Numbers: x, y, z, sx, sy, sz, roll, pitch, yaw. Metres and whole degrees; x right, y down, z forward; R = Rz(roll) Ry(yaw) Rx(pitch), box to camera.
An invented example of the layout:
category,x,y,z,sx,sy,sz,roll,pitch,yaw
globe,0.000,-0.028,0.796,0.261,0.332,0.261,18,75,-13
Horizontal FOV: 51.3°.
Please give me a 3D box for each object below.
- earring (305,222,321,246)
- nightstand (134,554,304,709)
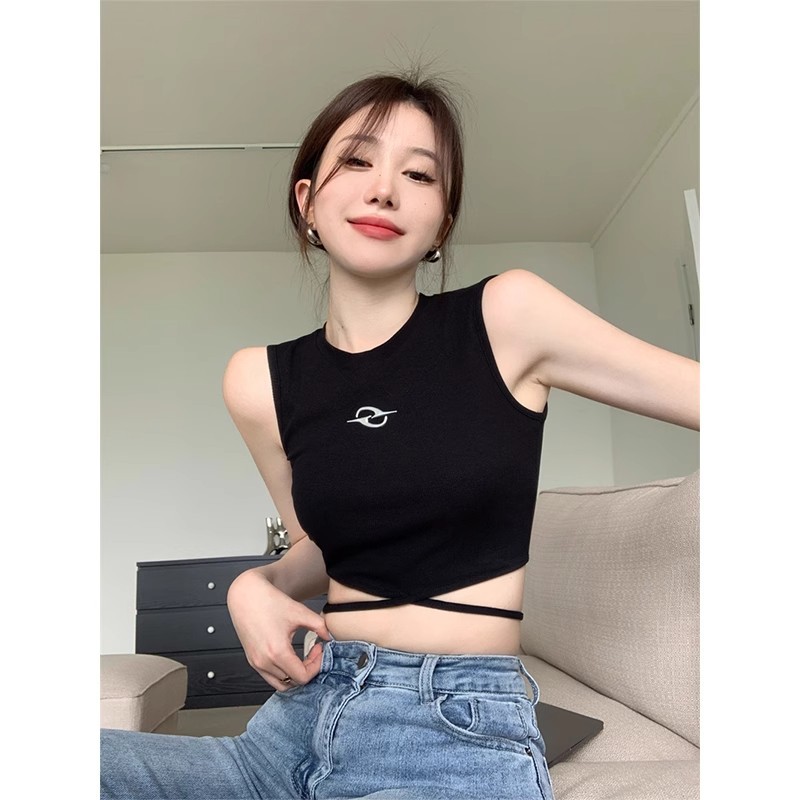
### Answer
category,x,y,z,sx,sy,sz,roll,pitch,yaw
earring,-0.126,-0.244,1.225,0.014,0.031,0.025,-33,25,-9
nightstand,-0.548,0.789,2.853,0.723,0.481,0.288,-11,-19,27
